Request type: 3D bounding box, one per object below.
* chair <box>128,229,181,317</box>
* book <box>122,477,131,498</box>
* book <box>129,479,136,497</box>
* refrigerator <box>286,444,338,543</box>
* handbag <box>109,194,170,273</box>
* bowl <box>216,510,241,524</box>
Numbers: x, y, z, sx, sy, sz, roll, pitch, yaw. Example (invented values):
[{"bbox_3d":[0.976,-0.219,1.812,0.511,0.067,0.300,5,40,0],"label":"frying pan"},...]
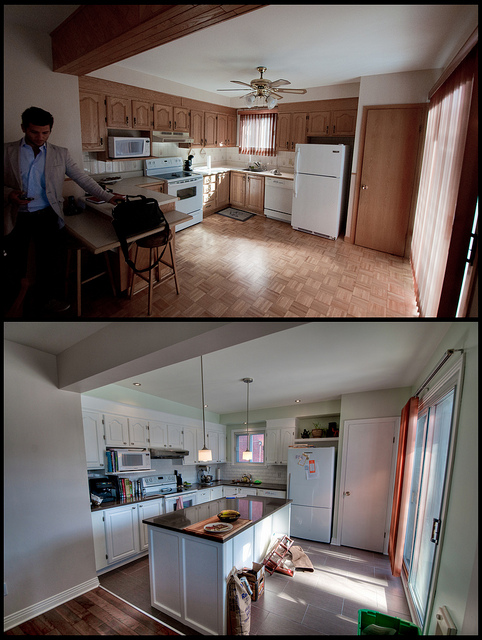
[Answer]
[{"bbox_3d":[-0.843,-0.427,3.453,0.387,0.802,0.449,18,36,23],"label":"chair"},{"bbox_3d":[-1.344,1.987,4.294,0.039,0.198,0.190,1,-14,-11],"label":"book"},{"bbox_3d":[-1.329,2.066,4.435,0.035,0.172,0.168,-7,1,-9],"label":"book"},{"bbox_3d":[1.032,2.567,5.709,0.751,1.584,0.707,0,11,1],"label":"refrigerator"},{"bbox_3d":[-0.902,-0.731,3.148,0.420,0.633,0.642,-17,36,-23],"label":"handbag"},{"bbox_3d":[-0.109,1.701,3.145,0.117,0.043,0.128,0,0,0],"label":"bowl"}]
